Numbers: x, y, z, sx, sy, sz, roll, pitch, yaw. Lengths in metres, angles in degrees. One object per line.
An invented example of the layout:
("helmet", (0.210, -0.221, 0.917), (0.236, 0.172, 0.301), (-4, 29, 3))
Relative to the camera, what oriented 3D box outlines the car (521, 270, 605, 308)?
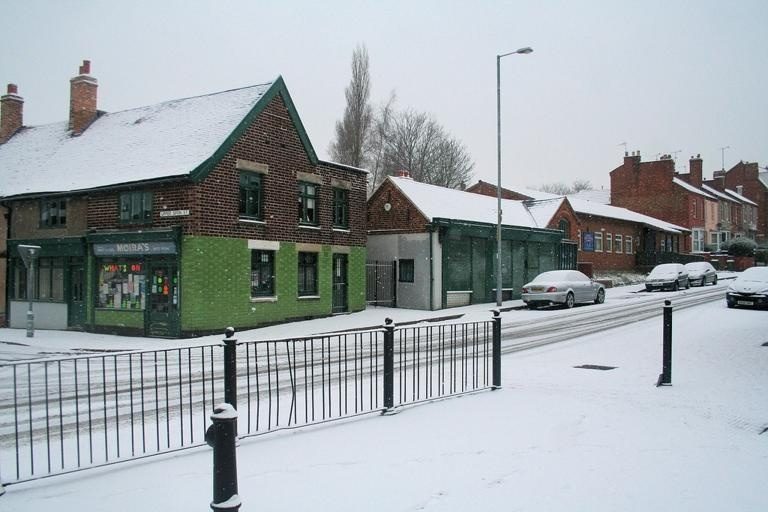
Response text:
("car", (7.976, 1.428, 33.348), (3.788, 1.571, 1.453), (-9, 13, -38))
